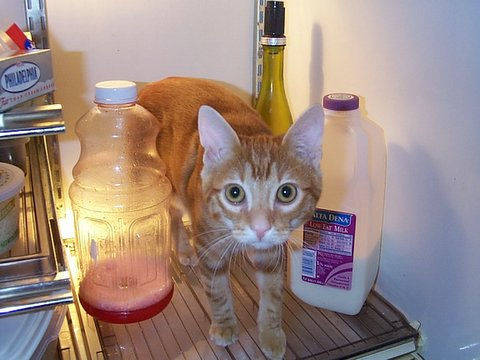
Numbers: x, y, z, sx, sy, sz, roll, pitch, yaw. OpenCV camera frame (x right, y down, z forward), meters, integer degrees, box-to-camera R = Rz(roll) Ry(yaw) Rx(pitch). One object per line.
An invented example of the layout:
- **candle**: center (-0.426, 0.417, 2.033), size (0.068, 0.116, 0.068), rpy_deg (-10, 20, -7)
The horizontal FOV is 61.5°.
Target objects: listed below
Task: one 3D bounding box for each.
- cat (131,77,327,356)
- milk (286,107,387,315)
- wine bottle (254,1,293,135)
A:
- **cat**: center (-0.047, 0.051, 1.021), size (0.524, 0.550, 0.324), rpy_deg (14, 25, 37)
- **milk**: center (0.260, 0.076, 1.072), size (0.225, 0.556, 0.202), rpy_deg (5, 10, 35)
- **wine bottle**: center (0.088, -0.306, 1.212), size (0.092, 0.412, 0.099), rpy_deg (1, 26, -1)
